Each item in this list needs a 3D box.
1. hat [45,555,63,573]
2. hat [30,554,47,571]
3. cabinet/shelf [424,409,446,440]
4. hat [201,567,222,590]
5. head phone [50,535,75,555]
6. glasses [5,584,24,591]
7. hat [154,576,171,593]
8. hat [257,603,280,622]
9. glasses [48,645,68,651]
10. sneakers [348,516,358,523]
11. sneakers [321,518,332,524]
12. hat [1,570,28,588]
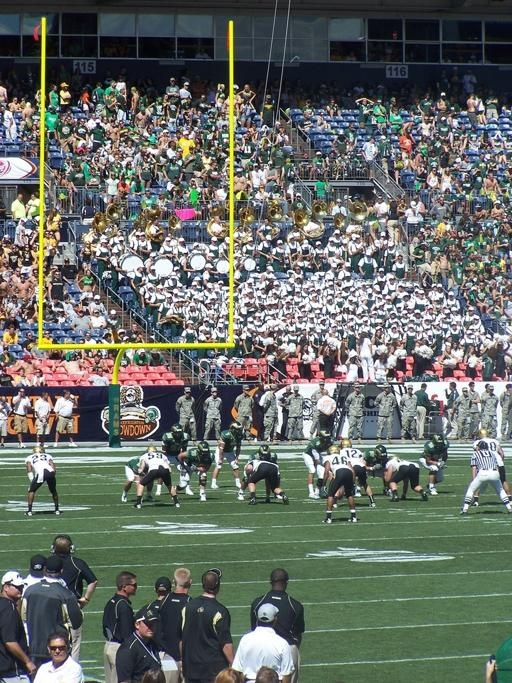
[{"bbox_3d":[-1.801,1.985,19.617,0.140,0.148,0.121,2,1,-8],"label":"hat"},{"bbox_3d":[-1.950,1.984,19.681,0.132,0.146,0.163,2,1,-8],"label":"hat"},{"bbox_3d":[2.799,1.295,34.282,0.133,0.295,0.515,3,1,31],"label":"cabinet/shelf"},{"bbox_3d":[-0.381,2.062,19.319,0.114,0.118,0.202,10,45,9],"label":"hat"},{"bbox_3d":[-1.763,1.857,20.128,0.147,0.171,0.176,1,-30,-9],"label":"head phone"},{"bbox_3d":[-2.104,2.142,19.256,0.076,0.060,0.065,-6,-10,12],"label":"glasses"},{"bbox_3d":[-0.827,2.171,19.684,0.151,0.134,0.269,2,5,-2],"label":"hat"},{"bbox_3d":[0.100,2.326,18.832,0.164,0.187,0.230,2,1,-3],"label":"hat"},{"bbox_3d":[-1.659,2.554,18.348,0.108,0.046,0.016,3,1,7],"label":"glasses"},{"bbox_3d":[1.159,2.087,25.902,0.052,0.129,0.115,-5,8,-40],"label":"sneakers"},{"bbox_3d":[0.845,2.091,25.828,0.134,0.109,0.049,6,6,38],"label":"sneakers"},{"bbox_3d":[-2.134,2.072,19.288,0.161,0.103,0.131,9,-1,-2],"label":"hat"}]
